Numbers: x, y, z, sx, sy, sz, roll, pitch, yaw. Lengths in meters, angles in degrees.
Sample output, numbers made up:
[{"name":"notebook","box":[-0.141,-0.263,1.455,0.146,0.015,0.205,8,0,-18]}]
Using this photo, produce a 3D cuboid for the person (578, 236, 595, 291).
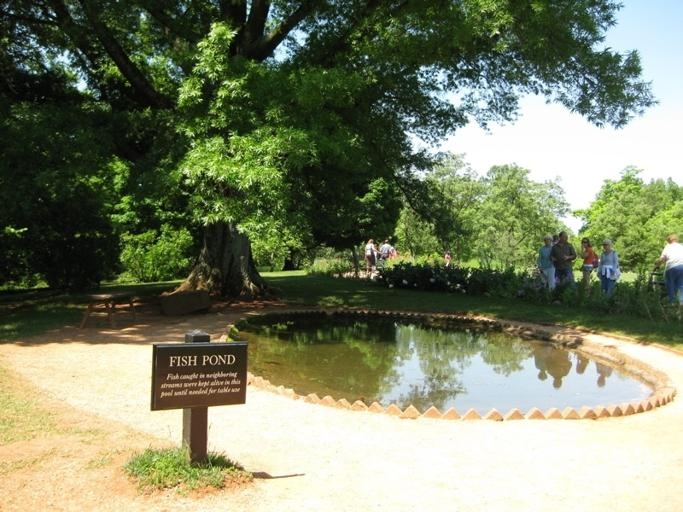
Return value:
[{"name":"person","box":[7.794,0.124,18.171,0.477,1.447,2.200,2,5,23]}]
